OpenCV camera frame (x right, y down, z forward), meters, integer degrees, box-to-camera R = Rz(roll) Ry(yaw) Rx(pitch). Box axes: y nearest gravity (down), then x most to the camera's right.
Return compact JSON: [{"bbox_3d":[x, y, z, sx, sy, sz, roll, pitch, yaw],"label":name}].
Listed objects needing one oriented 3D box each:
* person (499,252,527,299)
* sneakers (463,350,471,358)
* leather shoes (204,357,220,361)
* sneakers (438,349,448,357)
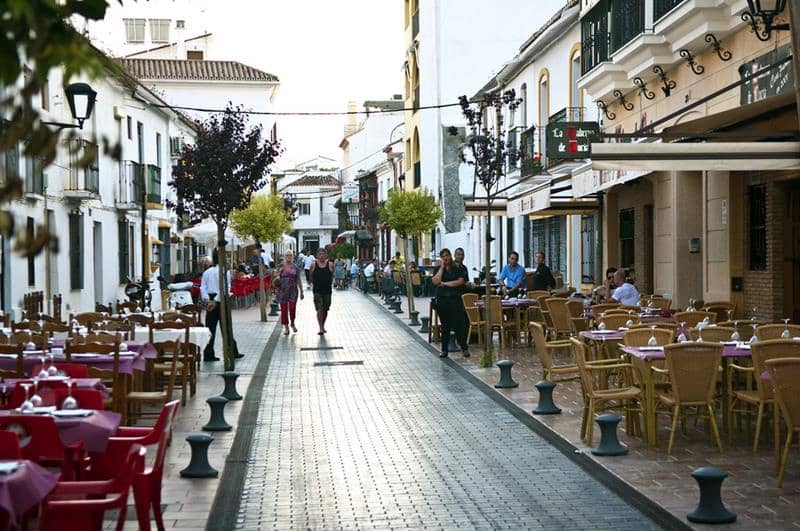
[{"bbox_3d":[2.623,0.224,24.556,0.528,1.090,0.696,6,18,29],"label":"person"},{"bbox_3d":[1.326,1.766,20.898,0.106,0.133,0.277,-1,-4,-2],"label":"sneakers"},{"bbox_3d":[-3.709,1.859,20.689,0.275,0.136,0.097,0,1,-21],"label":"leather shoes"},{"bbox_3d":[0.866,1.758,20.959,0.120,0.149,0.386,-1,-6,2],"label":"sneakers"}]
